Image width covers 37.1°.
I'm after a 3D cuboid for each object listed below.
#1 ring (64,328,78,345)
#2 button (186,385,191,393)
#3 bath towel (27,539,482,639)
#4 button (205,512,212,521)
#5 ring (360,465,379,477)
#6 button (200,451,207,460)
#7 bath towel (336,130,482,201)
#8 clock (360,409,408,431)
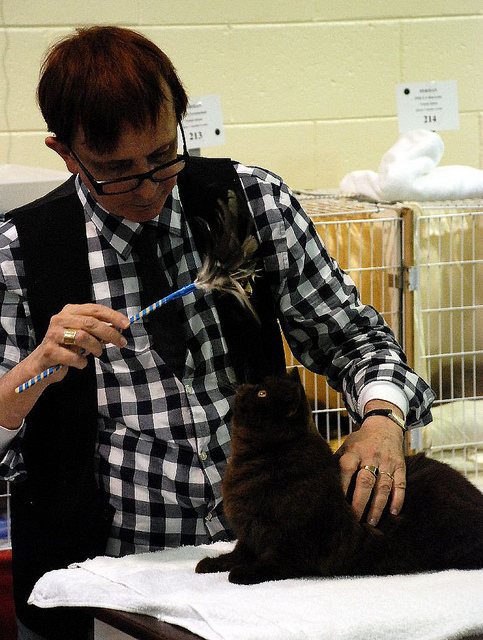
[{"bbox_3d":[-0.229,0.022,0.965,0.020,0.022,0.023,-1,-11,6],"label":"ring"},{"bbox_3d":[-0.083,0.107,1.129,0.007,0.008,0.003,-2,-9,-37],"label":"button"},{"bbox_3d":[0.001,0.300,0.772,0.511,0.045,0.203,-4,7,10],"label":"bath towel"},{"bbox_3d":[-0.053,0.312,1.139,0.010,0.012,0.003,3,8,0],"label":"button"},{"bbox_3d":[0.171,0.202,0.956,0.016,0.007,0.014,11,2,31],"label":"ring"},{"bbox_3d":[-0.060,0.213,1.127,0.010,0.010,0.003,15,-5,-38],"label":"button"},{"bbox_3d":[0.487,-0.486,2.312,0.307,0.223,0.477,-11,9,-37],"label":"bath towel"},{"bbox_3d":[0.209,0.148,1.050,0.041,0.039,0.012,-13,35,33],"label":"clock"}]
